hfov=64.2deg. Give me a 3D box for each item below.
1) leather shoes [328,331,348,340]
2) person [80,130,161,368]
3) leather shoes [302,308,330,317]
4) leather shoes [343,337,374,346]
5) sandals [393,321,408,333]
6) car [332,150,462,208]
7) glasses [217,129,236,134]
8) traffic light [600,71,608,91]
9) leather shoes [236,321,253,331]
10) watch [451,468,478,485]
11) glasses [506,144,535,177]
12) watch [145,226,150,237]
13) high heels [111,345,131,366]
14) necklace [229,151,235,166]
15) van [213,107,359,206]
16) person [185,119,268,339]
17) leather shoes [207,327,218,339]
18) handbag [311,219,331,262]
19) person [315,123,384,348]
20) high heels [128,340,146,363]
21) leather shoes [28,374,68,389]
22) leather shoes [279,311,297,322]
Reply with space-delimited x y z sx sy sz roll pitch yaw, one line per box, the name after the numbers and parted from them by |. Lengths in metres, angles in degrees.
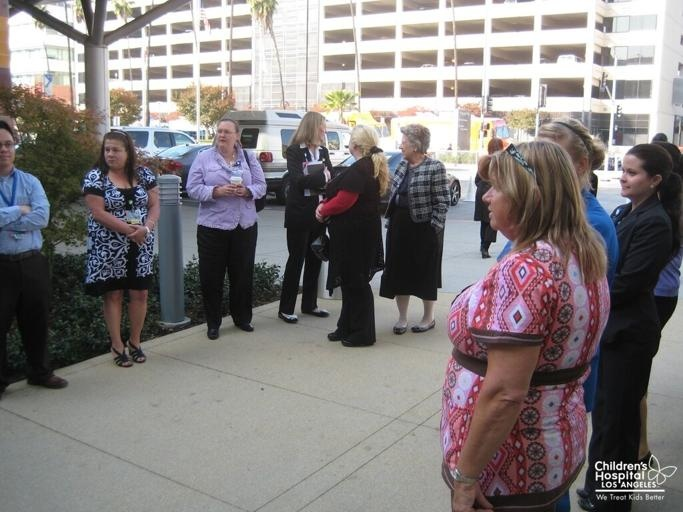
-0.039 0.869 5.921 0.206 0.089 0.070 6 -2 7 | leather shoes
-2.042 -0.065 5.106 0.724 2.167 0.517 -8 15 -36 | person
-0.302 0.716 6.829 0.224 0.089 0.125 -4 3 15 | leather shoes
0.177 0.910 5.779 0.300 0.128 0.113 -1 4 4 | leather shoes
0.681 0.818 6.241 0.128 0.099 0.339 -1 -1 12 | sandals
2.625 -2.517 16.702 2.160 1.651 4.771 6 10 43 | car
-1.219 -1.323 5.815 0.205 0.060 0.094 -1 12 -11 | glasses
30.267 -20.027 62.481 1.126 2.150 0.536 -5 14 -26 | traffic light
-1.084 0.803 6.217 0.229 0.098 0.085 2 11 28 | leather shoes
0.442 0.794 1.976 0.059 0.024 0.060 5 -2 3 | watch
0.673 -0.354 2.059 0.122 0.033 0.091 40 -5 9 | glasses
-1.791 -0.237 5.040 0.052 0.069 0.025 -8 5 -41 | watch
-2.095 0.935 5.186 0.114 0.080 0.297 -2 15 -38 | high heels
-1.209 -1.067 6.004 0.027 0.103 0.107 22 -22 -27 | necklace
-0.932 -3.580 18.376 4.537 2.592 2.905 -14 19 -38 | van
-1.256 -0.308 6.009 0.813 2.319 0.540 -2 13 -15 | person
-1.389 0.839 5.905 0.122 0.088 0.159 -3 13 -17 | leather shoes
-0.234 -0.196 6.231 0.210 0.416 0.408 9 -8 10 | handbag
0.130 -0.200 5.731 0.735 2.283 0.524 0 12 -3 | person
-1.971 0.936 5.263 0.102 0.075 0.278 -15 47 -44 | high heels
-2.549 1.083 4.710 0.352 0.142 0.129 3 5 2 | leather shoes
-0.624 0.738 6.559 0.246 0.099 0.094 9 9 34 | leather shoes
